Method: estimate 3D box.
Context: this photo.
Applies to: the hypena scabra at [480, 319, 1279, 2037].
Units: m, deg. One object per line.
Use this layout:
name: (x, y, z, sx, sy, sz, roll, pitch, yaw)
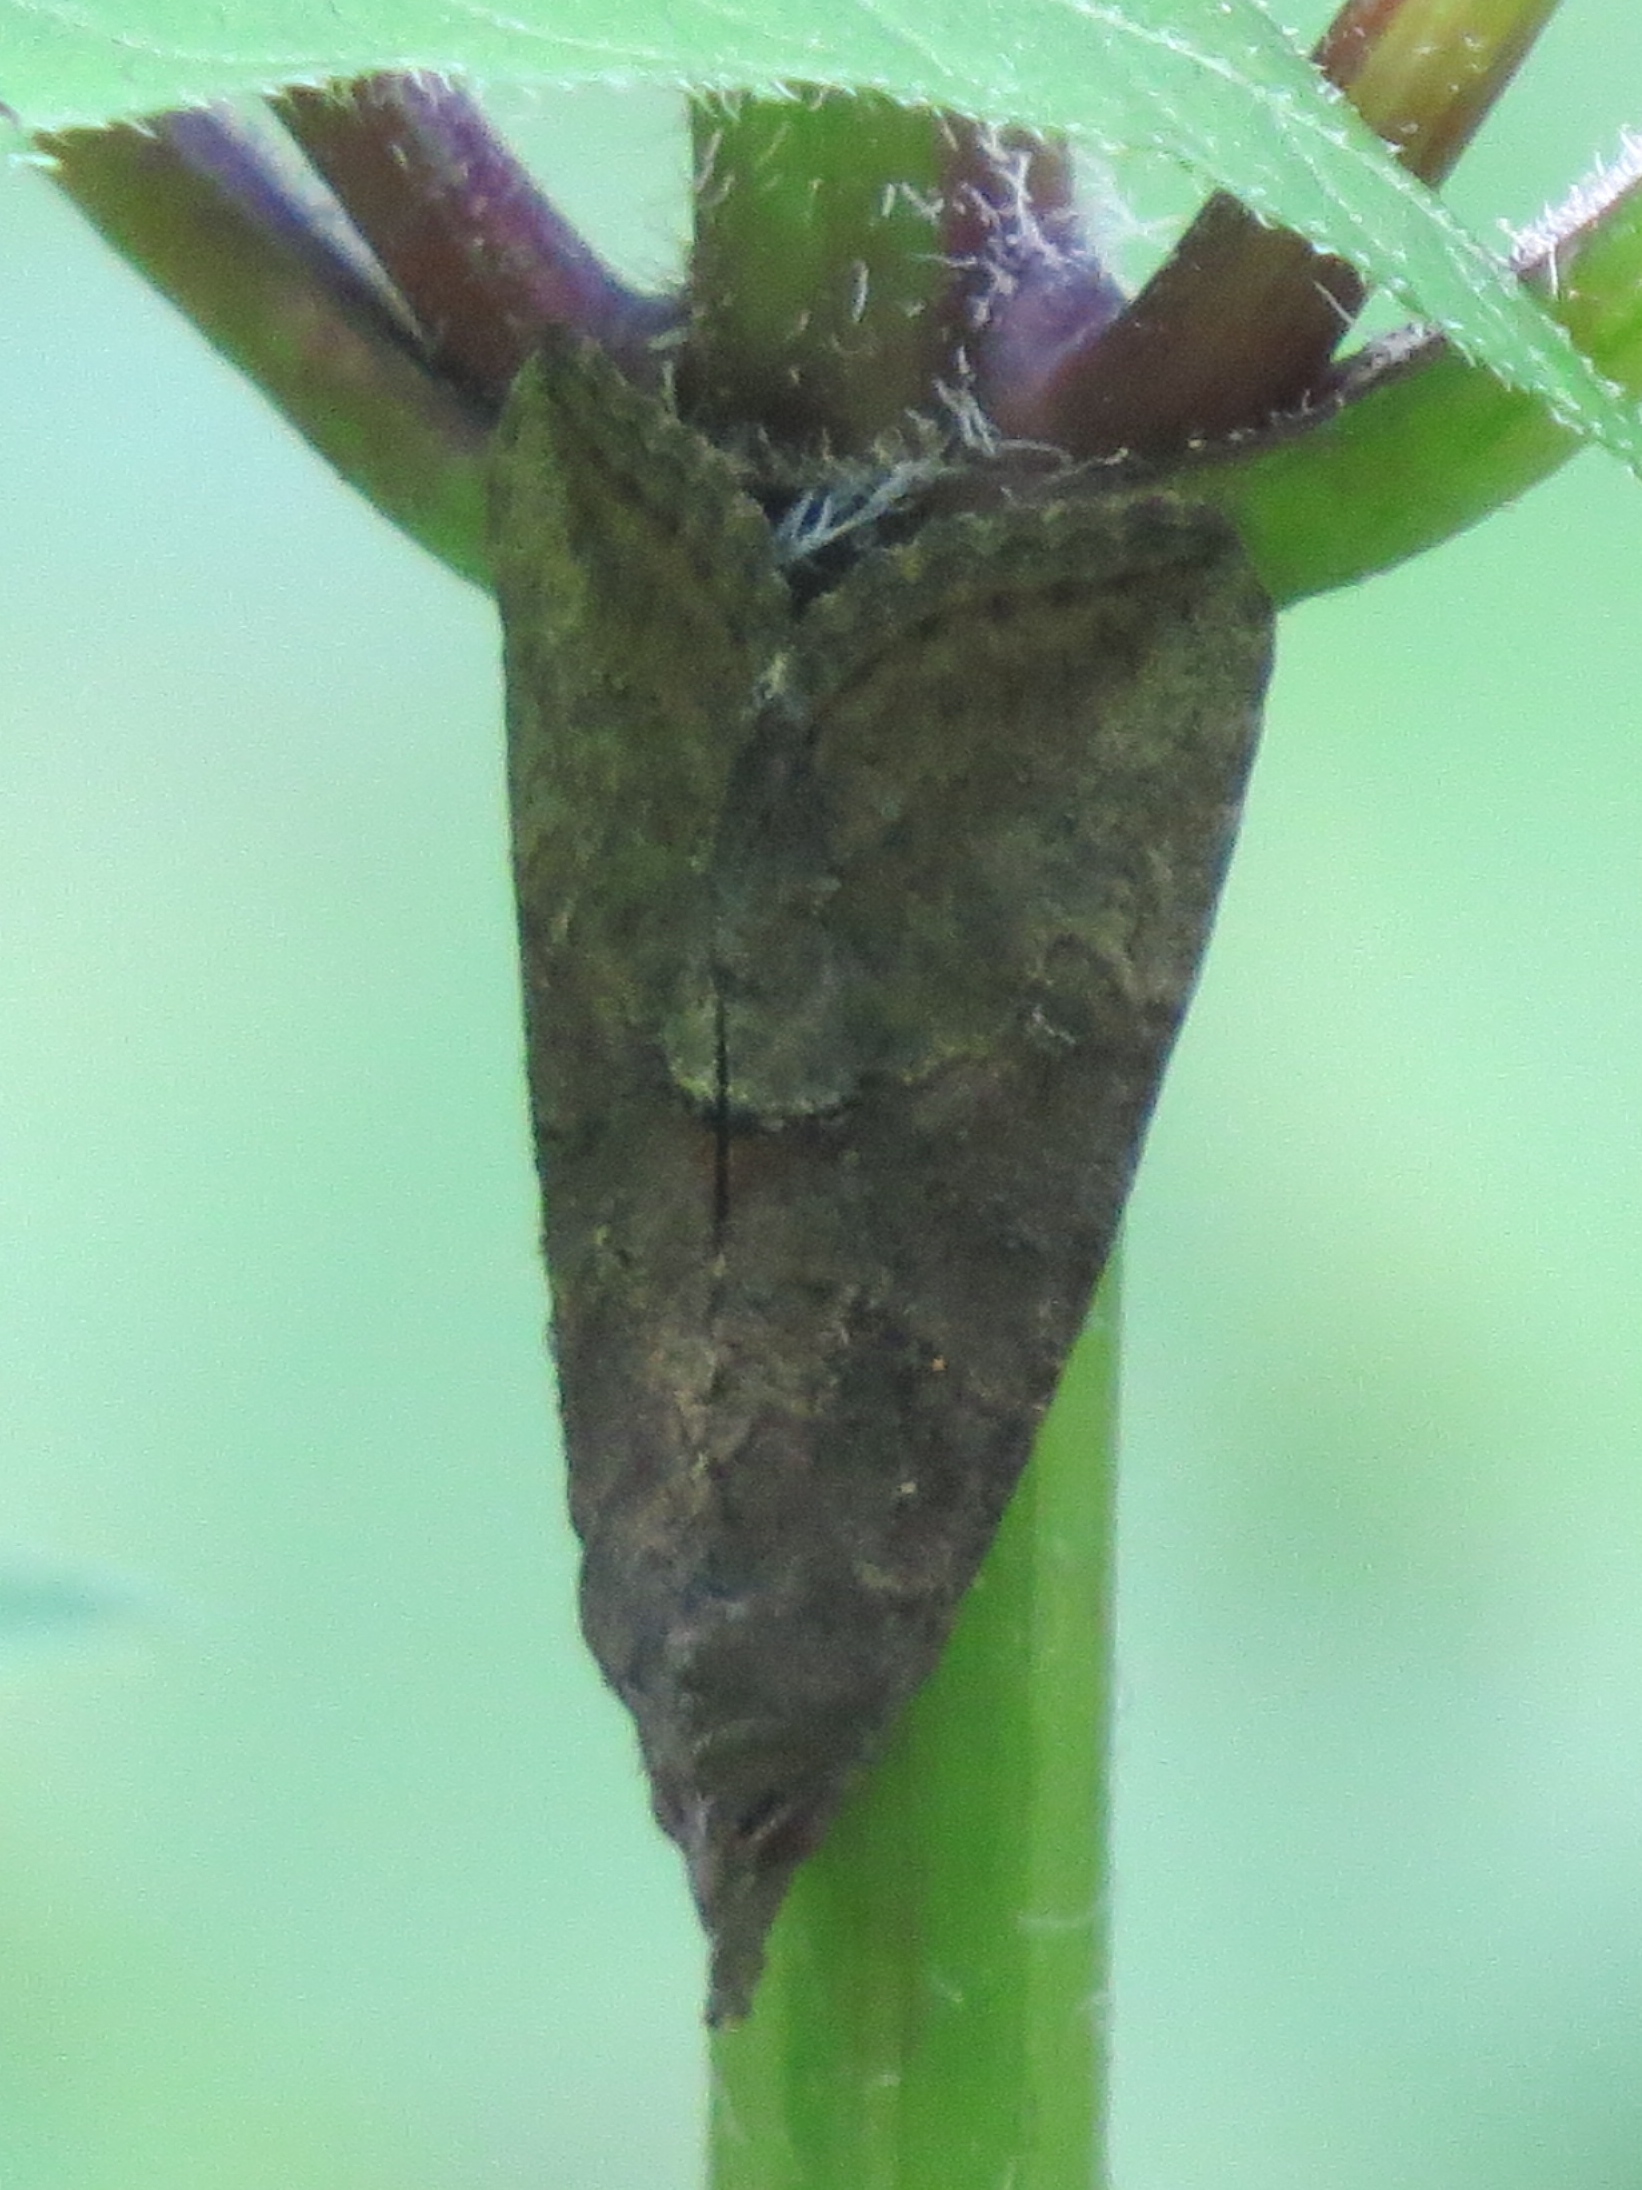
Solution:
hypena scabra: (0.002, 0.024, 1.041, 0.232, 0.140, 0.442, 7, -92, 0)
